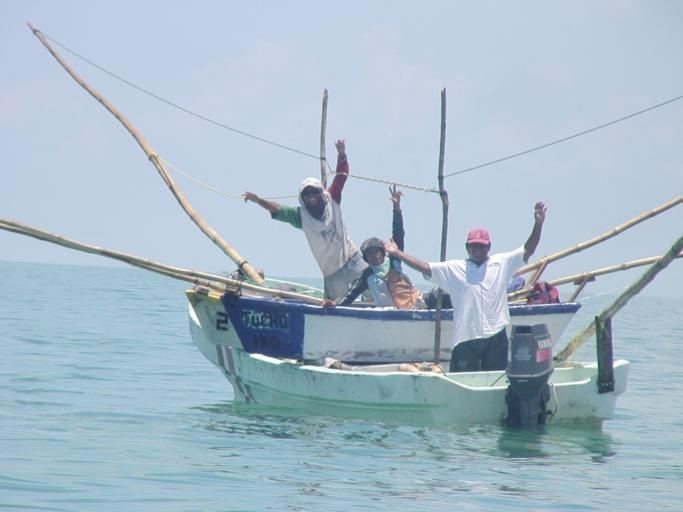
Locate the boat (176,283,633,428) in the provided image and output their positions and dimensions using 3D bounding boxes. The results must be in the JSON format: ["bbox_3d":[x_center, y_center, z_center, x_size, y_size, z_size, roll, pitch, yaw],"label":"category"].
[{"bbox_3d":[0.739,1.513,24.055,7.925,1.805,2.593,-6,18,48],"label":"boat"}]
